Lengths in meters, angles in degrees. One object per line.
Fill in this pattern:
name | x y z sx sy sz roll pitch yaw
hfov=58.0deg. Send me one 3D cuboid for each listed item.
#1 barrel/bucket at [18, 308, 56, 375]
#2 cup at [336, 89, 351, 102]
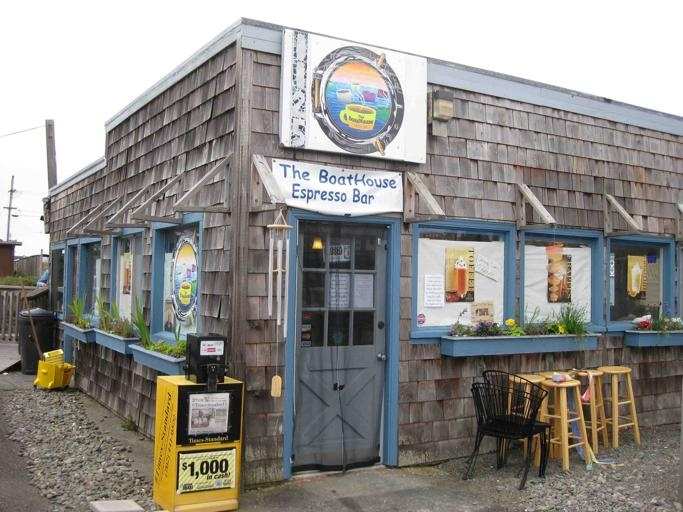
barrel/bucket | -6.079 1.710 12.280 0.680 1.257 0.695 2 -1 0
cup | 0.030 -1.800 6.968 0.190 0.206 0.116 2 16 4
